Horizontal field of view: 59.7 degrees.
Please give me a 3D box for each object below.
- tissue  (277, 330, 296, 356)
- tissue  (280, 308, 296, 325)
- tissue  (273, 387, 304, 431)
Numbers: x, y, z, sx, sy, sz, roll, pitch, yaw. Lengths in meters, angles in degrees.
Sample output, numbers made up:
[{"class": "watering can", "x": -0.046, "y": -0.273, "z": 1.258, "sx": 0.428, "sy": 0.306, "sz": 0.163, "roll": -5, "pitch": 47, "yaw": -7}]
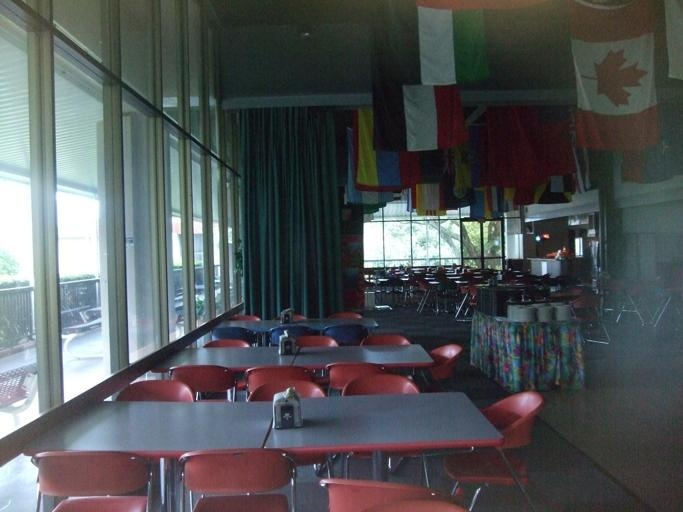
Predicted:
[{"class": "tissue ", "x": -0.533, "y": 0.869, "z": 5.885, "sx": 0.179, "sy": 0.258, "sz": 0.182, "roll": -1, "pitch": 2, "yaw": -7}, {"class": "tissue ", "x": -0.631, "y": 0.709, "z": 7.020, "sx": 0.136, "sy": 0.199, "sz": 0.191, "roll": -1, "pitch": 2, "yaw": 1}, {"class": "tissue ", "x": -0.393, "y": 1.129, "z": 4.398, "sx": 0.217, "sy": 0.296, "sz": 0.117, "roll": -3, "pitch": 0, "yaw": -7}]
